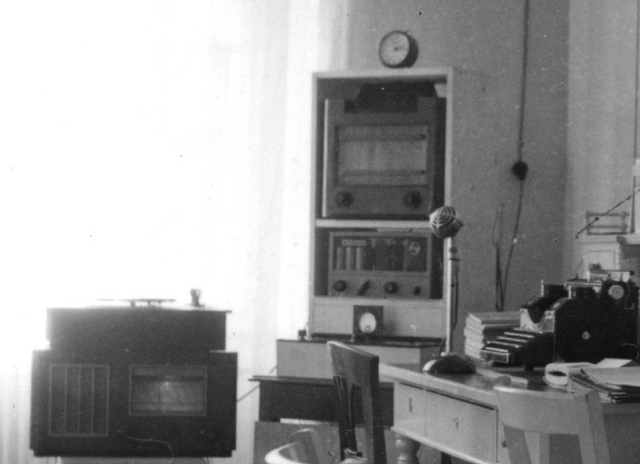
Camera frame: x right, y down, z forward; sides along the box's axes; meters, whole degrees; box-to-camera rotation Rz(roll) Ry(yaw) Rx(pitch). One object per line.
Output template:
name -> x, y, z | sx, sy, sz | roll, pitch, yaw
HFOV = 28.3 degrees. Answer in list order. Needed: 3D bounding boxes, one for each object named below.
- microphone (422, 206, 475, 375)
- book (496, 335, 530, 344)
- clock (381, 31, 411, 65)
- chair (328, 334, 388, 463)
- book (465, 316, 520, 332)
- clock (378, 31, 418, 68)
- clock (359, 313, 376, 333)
microphone -> 0.628, 0.290, 6.140 | 0.236, 0.856, 0.245 | 2, 0, 7
book -> 0.914, 0.513, 6.006 | 0.039, 0.039, 0.180 | 2, -4, -44
clock -> 0.438, -1.043, 7.252 | 0.168, 0.177, 0.048 | 0, -2, 2
chair -> 0.166, 0.767, 5.645 | 0.234, 0.552, 0.484 | 0, -3, -2
book -> 0.852, 0.455, 6.224 | 0.253, 0.073, 0.117 | -1, -3, 6
clock -> 0.451, -1.038, 7.268 | 0.198, 0.220, 0.049 | 0, 8, 11
clock -> 0.262, 0.499, 6.896 | 0.087, 0.105, 0.025 | 0, -2, -3
